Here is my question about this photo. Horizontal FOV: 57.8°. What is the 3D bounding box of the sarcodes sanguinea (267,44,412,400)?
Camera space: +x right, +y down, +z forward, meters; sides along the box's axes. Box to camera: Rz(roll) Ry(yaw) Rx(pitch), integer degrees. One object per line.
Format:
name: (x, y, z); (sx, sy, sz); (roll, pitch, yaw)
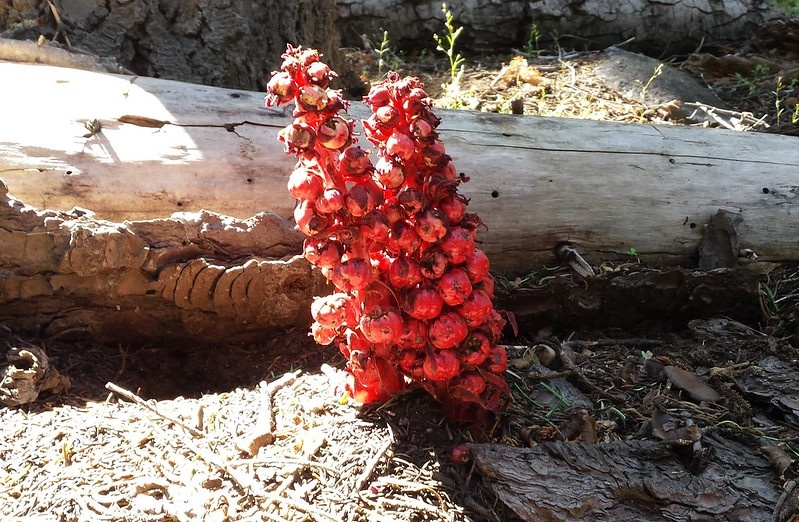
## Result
sarcodes sanguinea: (-0.324, -0.155, 4.132); (0.809, 2.055, 0.432); (18, 29, 39)
